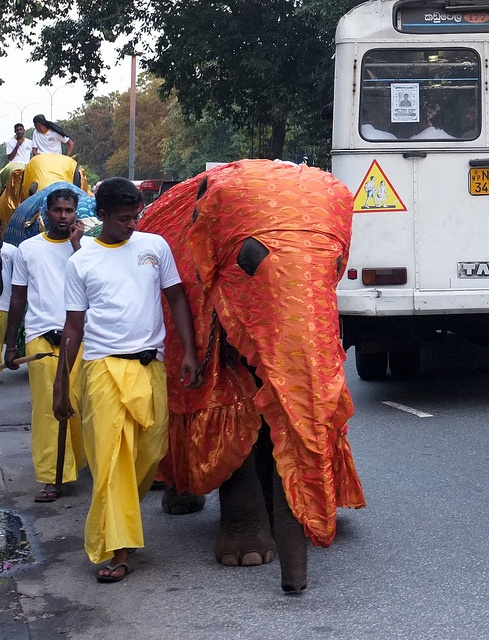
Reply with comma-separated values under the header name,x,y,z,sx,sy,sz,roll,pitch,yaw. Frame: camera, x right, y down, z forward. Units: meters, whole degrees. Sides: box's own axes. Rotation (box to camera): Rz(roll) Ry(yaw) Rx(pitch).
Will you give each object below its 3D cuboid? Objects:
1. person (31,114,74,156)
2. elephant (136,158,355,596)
name,x,y,z,sx,sy,sz,roll,pitch,yaw
person,-2.738,-2.653,11.125,0.546,0.612,1.115,-3,8,-13
elephant,0.082,0.199,3.034,0.592,1.642,1.304,-4,9,-17
